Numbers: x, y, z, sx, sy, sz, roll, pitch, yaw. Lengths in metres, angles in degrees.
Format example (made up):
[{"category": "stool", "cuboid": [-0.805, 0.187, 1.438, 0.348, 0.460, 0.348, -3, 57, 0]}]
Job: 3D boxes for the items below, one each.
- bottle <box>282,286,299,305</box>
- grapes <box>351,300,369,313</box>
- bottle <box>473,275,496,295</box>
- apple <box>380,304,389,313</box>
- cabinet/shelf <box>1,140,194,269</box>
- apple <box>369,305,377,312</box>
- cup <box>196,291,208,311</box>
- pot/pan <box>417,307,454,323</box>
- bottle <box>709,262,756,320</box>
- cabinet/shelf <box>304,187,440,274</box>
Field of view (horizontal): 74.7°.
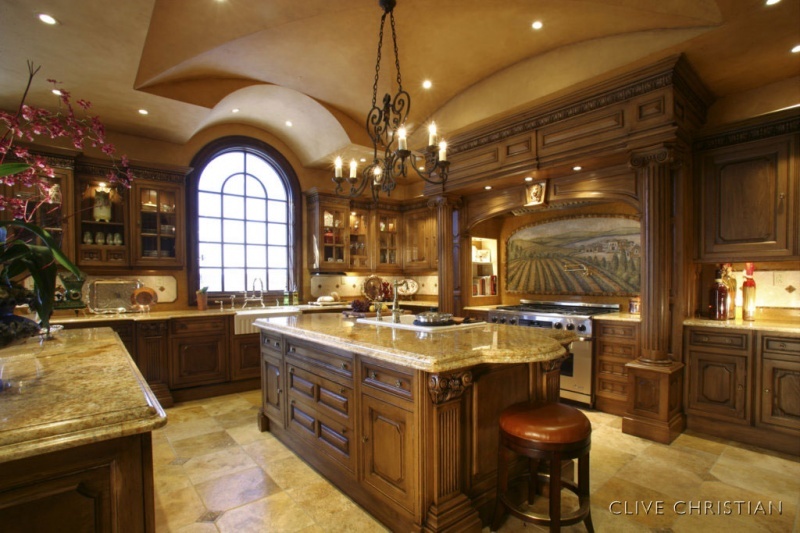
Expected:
[{"category": "bottle", "cuboid": [-1.650, 0.425, 7.926, 0.221, 0.254, 0.377, -1, 0, -9]}, {"category": "grapes", "cuboid": [-0.428, 0.416, 5.558, 0.120, 0.083, 0.163, -8, -8, 39]}, {"category": "bottle", "cuboid": [1.239, 0.274, 7.661, 0.430, 0.208, 0.112, -1, 0, -41]}, {"category": "apple", "cuboid": [-0.172, 0.472, 5.896, 0.108, 0.089, 0.102, -1, -6, -3]}, {"category": "cabinet/shelf", "cuboid": [-3.273, -0.659, 5.663, 1.897, 1.470, 0.540, 2, -3, -40]}, {"category": "apple", "cuboid": [-0.303, 0.479, 5.965, 0.090, 0.075, 0.085, 0, -2, -1]}, {"category": "cup", "cuboid": [-2.690, 0.446, 7.114, 0.144, 0.240, 0.337, -2, 0, -21]}, {"category": "pot/pan", "cuboid": [0.318, 0.477, 4.860, 0.337, 0.086, 0.343, -2, -1, 20]}, {"category": "bottle", "cuboid": [3.633, 0.271, 5.704, 0.446, 0.598, 0.343, -1, 0, 7]}, {"category": "cabinet/shelf", "cuboid": [-0.514, -0.488, 8.470, 2.445, 1.426, 1.225, 2, -5, -36]}]
